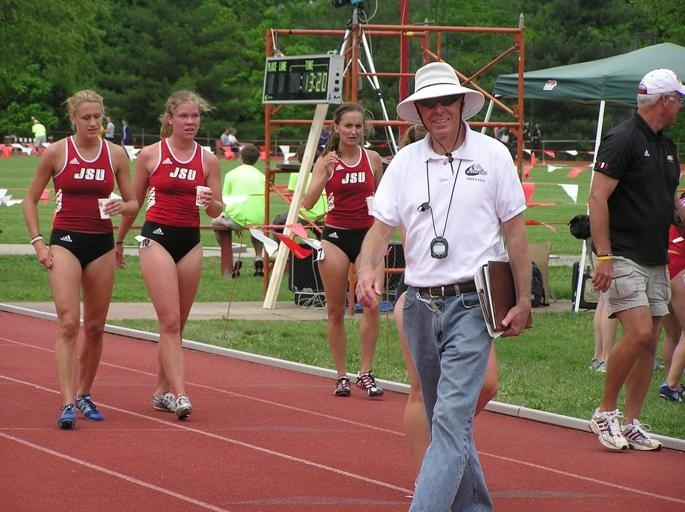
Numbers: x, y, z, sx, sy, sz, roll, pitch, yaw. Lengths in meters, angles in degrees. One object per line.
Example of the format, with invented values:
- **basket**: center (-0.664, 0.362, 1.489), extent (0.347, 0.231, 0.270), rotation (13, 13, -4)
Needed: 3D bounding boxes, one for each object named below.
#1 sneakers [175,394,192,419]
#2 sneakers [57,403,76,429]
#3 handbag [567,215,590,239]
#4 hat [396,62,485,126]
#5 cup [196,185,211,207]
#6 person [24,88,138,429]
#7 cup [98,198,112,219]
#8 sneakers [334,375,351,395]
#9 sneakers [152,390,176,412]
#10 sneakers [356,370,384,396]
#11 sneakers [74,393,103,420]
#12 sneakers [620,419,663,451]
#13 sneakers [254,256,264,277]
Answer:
- **sneakers**: center (-1.282, 1.214, 7.354), extent (0.131, 0.221, 0.256), rotation (3, 5, -8)
- **sneakers**: center (-2.124, 1.237, 7.026), extent (0.097, 0.110, 0.255), rotation (0, 5, -14)
- **handbag**: center (1.934, -0.231, 7.400), extent (0.202, 0.202, 0.163), rotation (13, 6, 26)
- **hat**: center (0.569, -1.047, 5.471), extent (0.419, 0.217, 0.426), rotation (-10, -26, 9)
- **cup**: center (-1.148, -0.484, 7.487), extent (0.109, 0.176, 0.287), rotation (3, 5, -10)
- **person**: center (-2.090, -0.003, 7.266), extent (0.866, 2.609, 0.646), rotation (2, 5, -19)
- **cup**: center (-1.877, -0.368, 7.202), extent (0.097, 0.170, 0.174), rotation (3, 5, -16)
- **sneakers**: center (0.005, 1.183, 8.377), extent (0.155, 0.170, 0.190), rotation (4, 5, 0)
- **sneakers**: center (-1.483, 1.211, 7.626), extent (0.122, 0.143, 0.333), rotation (2, -3, -38)
- **sneakers**: center (0.247, 1.180, 8.506), extent (0.128, 0.162, 0.349), rotation (3, 4, -37)
- **sneakers**: center (-2.047, 1.219, 7.464), extent (0.125, 0.143, 0.333), rotation (-2, 11, -44)
- **sneakers**: center (2.258, 1.365, 7.005), extent (0.164, 0.164, 0.348), rotation (2, 5, -43)
- **sneakers**: center (-1.484, 0.186, 16.237), extent (0.151, 0.344, 0.161), rotation (1, 15, -10)
